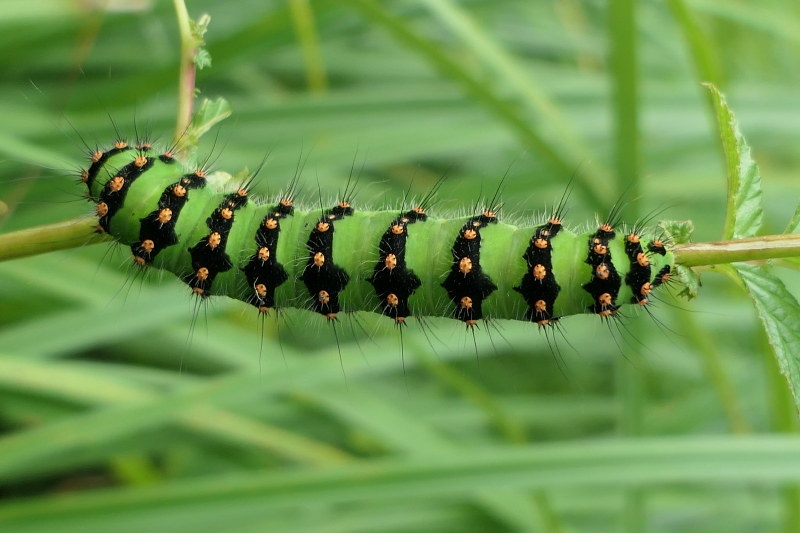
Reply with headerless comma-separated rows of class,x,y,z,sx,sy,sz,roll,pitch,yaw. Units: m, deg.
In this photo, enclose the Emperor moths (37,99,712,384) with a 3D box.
Emperor moths,-0.305,-0.135,5.155,4.204,0.726,1.058,4,-69,3
